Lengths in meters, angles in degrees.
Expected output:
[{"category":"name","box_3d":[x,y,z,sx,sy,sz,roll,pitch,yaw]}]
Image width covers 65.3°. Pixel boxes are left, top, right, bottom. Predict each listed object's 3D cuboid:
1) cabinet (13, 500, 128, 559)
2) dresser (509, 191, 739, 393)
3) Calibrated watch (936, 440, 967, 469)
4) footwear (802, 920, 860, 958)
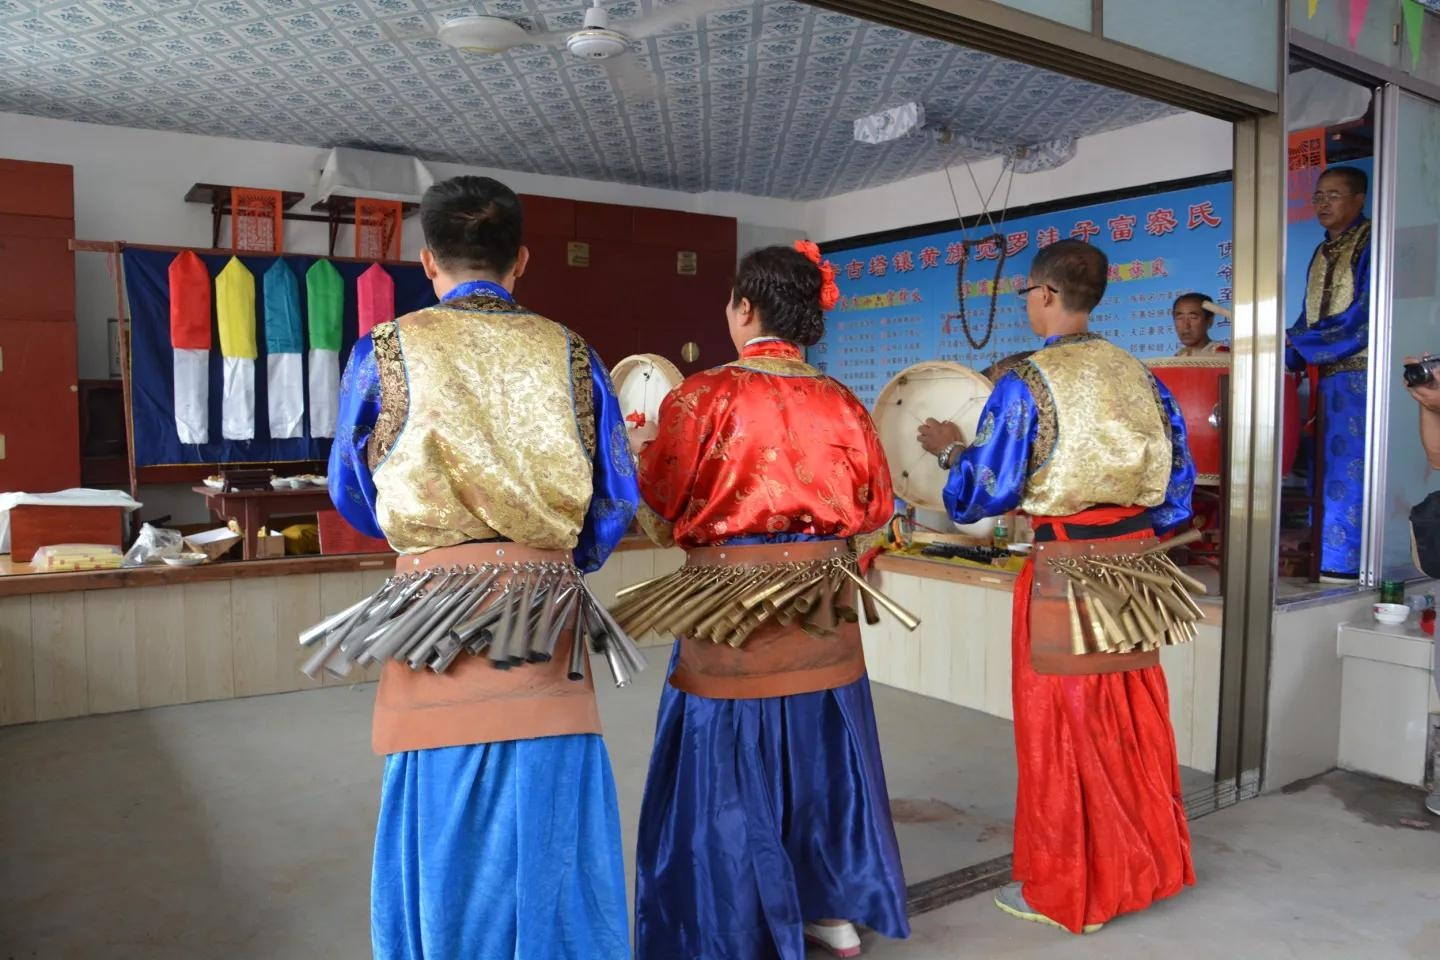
[{"category":"cabinet","box_3d":[-3.483,0.243,5.892,0.436,0.201,0.302,-1,1,-26]},{"category":"dresser","box_3d":[-0.727,-1.626,9.066,2.457,1.303,0.737,-7,16,-43]},{"category":"Calibrated watch","box_3d":[0.899,-0.097,4.439,0.111,0.107,0.113,6,38,-7]},{"category":"footwear","box_3d":[0.411,1.639,4.080,0.214,0.081,0.105,9,4,42]}]
